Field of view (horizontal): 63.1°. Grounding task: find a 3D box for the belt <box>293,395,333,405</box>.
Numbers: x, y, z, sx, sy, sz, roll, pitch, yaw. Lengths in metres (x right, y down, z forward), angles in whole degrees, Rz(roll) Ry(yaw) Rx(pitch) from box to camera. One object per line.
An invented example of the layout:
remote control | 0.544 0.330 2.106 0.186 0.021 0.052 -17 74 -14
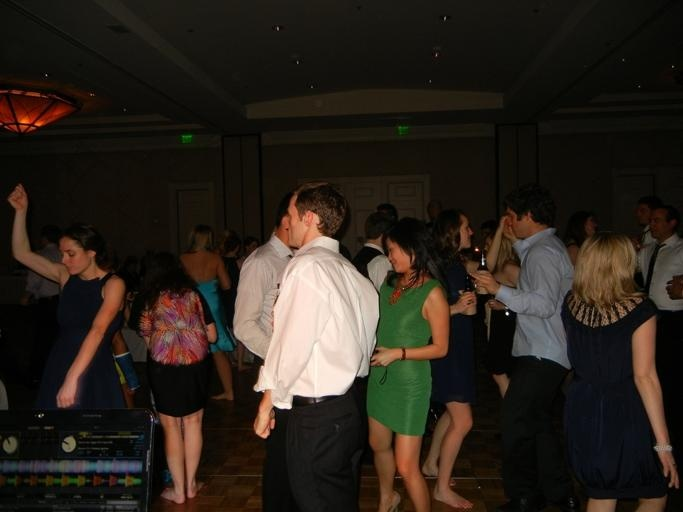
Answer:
belt | -0.154 0.770 2.976 0.228 0.057 0.030 0 0 5

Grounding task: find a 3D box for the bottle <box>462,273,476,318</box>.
bottle | 0.928 0.271 4.000 0.084 0.296 0.362 0 -1 13
